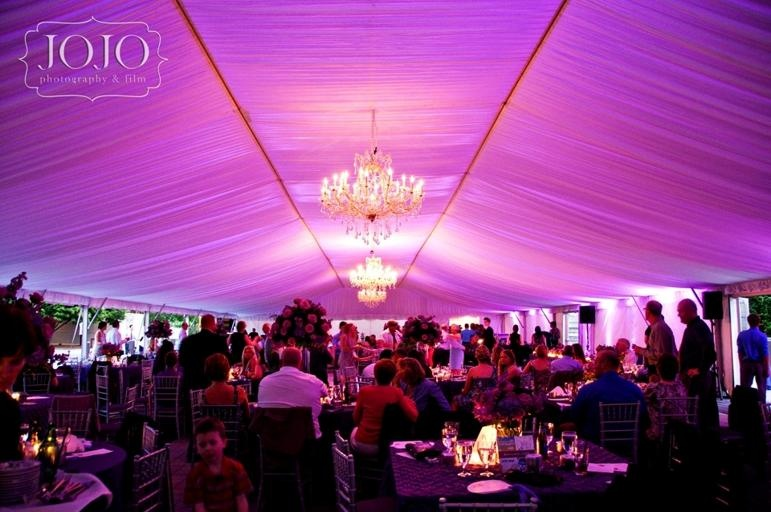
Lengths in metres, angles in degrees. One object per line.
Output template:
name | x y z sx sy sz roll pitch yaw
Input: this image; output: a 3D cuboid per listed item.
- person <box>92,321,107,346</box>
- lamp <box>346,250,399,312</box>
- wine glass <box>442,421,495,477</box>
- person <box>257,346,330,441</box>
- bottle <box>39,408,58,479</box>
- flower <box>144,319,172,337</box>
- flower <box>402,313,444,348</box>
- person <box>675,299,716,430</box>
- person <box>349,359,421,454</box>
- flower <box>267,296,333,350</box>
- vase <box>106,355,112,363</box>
person | -7.091 1.977 14.851 0.206 0.619 1.066 4 -13 -27
lamp | -0.418 0.660 19.182 1.468 2.014 1.450 8 16 21
wine glass | 0.716 1.673 4.954 0.390 0.367 0.271 5 -17 -13
person | -1.092 1.677 6.701 0.926 1.195 0.642 6 -11 -11
bottle | -2.522 1.484 4.455 0.144 0.397 0.411 5 -13 -28
flower | -6.093 1.906 16.056 0.558 0.457 0.557 19 -30 -33
flower | 0.776 1.563 12.629 0.697 0.568 0.686 -3 2 5
person | 4.220 1.489 8.077 0.623 0.690 1.910 7 36 23
person | -0.022 1.674 6.497 0.736 1.050 0.614 8 -6 -15
flower | -1.299 1.064 9.261 0.813 0.788 0.810 -10 -6 17
vase | -6.057 2.277 13.033 0.135 0.132 0.243 3 -12 -28
